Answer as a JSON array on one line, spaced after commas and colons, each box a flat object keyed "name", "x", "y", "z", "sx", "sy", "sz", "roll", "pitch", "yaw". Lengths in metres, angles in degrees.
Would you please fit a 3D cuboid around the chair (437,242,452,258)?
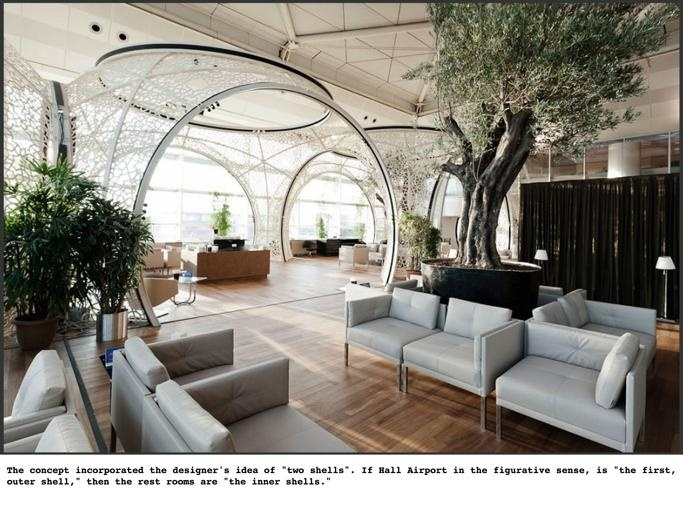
[{"name": "chair", "x": 3.347, "y": -0.194, "z": 13.276, "sx": 0.406, "sy": 0.710, "sz": 0.771, "roll": -1, "pitch": -2, "yaw": 30}]

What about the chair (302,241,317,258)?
[{"name": "chair", "x": -1.570, "y": -0.400, "z": 19.915, "sx": 0.679, "sy": 0.864, "sz": 0.787, "roll": 2, "pitch": 5, "yaw": 35}]

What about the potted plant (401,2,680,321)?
[{"name": "potted plant", "x": 2.399, "y": -1.528, "z": 5.343, "sx": 2.754, "sy": 3.541, "sz": 1.741, "roll": 2, "pitch": 6, "yaw": 37}]

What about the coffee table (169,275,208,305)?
[{"name": "coffee table", "x": -3.488, "y": 0.794, "z": 9.277, "sx": 0.808, "sy": 0.489, "sz": 0.757, "roll": -3, "pitch": 5, "yaw": -36}]

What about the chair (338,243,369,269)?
[{"name": "chair", "x": 0.538, "y": -0.044, "z": 14.820, "sx": 0.945, "sy": 1.005, "sz": 0.982, "roll": -2, "pitch": 3, "yaw": -33}]

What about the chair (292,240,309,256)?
[{"name": "chair", "x": -2.087, "y": -0.424, "z": 19.796, "sx": 0.892, "sy": 0.739, "sz": 0.406, "roll": -3, "pitch": 5, "yaw": -20}]

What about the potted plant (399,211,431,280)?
[{"name": "potted plant", "x": 1.982, "y": -0.335, "z": 10.325, "sx": 0.942, "sy": 1.502, "sz": 0.905, "roll": 5, "pitch": 9, "yaw": 18}]
